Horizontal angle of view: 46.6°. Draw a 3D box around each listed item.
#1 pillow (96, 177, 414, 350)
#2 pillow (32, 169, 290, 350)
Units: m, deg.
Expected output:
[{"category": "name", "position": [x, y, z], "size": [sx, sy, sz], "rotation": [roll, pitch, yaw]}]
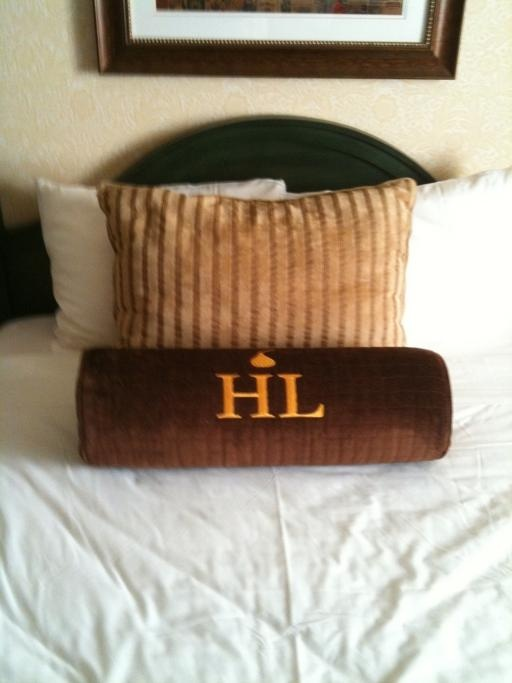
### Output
[{"category": "pillow", "position": [0.001, -0.117, 1.007], "size": [0.514, 0.288, 0.138], "rotation": [1, 15, -3]}, {"category": "pillow", "position": [-0.160, -0.136, 1.020], "size": [0.378, 0.244, 0.126], "rotation": [-3, 18, -8]}]
